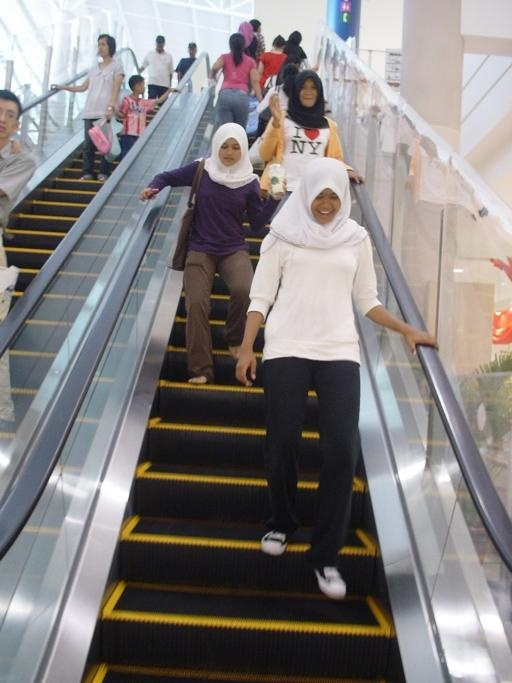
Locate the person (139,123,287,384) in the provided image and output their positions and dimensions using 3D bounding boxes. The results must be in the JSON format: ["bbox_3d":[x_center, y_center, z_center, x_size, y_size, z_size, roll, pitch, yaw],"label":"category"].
[{"bbox_3d":[-0.270,-0.511,2.911,0.624,1.636,0.445,4,-12,-9],"label":"person"}]

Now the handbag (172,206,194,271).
[{"bbox_3d":[-0.443,-0.615,2.954,0.116,0.331,0.209,2,27,6],"label":"handbag"}]

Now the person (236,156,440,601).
[{"bbox_3d":[0.209,0.064,1.743,0.558,1.194,0.708,12,29,25],"label":"person"}]
